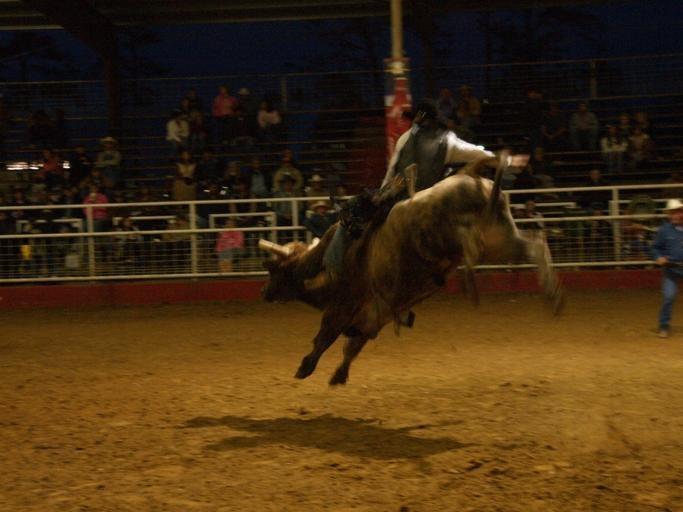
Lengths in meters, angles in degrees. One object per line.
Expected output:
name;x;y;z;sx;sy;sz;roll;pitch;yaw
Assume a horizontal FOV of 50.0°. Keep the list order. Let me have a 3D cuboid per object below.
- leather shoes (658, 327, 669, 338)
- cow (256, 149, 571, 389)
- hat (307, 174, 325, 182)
leather shoes;3.788;0.903;8.635;0.175;0.112;0.378;-3;-5;21
cow;0.400;0.229;5.849;2.247;2.064;0.724;3;16;29
hat;-0.462;-1.361;12.877;0.337;0.074;0.273;-2;-7;1
